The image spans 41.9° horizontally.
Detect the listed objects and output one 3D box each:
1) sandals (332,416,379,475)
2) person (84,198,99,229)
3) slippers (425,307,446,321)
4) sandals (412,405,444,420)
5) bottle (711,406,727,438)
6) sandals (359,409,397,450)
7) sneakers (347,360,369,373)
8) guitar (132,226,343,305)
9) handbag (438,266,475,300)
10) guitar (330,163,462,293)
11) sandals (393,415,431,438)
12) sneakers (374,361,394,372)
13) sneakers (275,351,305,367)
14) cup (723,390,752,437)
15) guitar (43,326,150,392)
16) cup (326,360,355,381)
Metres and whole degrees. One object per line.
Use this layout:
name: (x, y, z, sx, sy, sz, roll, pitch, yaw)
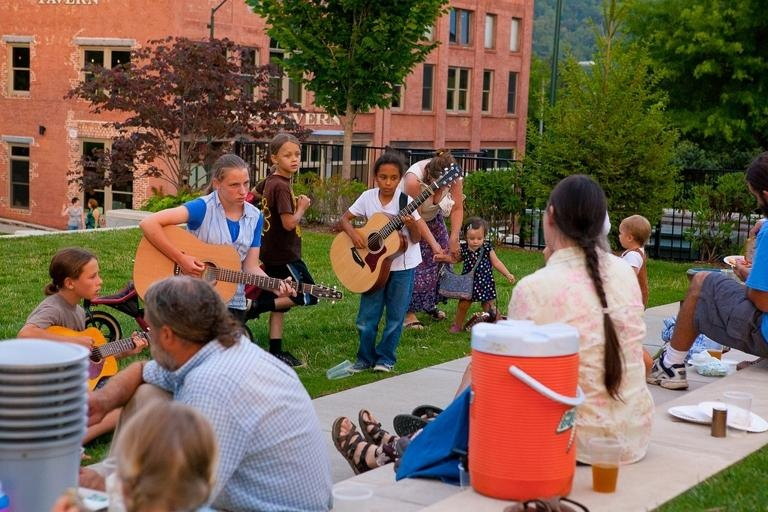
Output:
sandals: (-0.267, 1.668, 8.844, 0.247, 0.643, 0.230, -36, -15, -1)
person: (-7.430, -1.064, 25.209, 0.357, 0.733, 2.090, 1, 3, -16)
slippers: (0.707, 0.762, 13.420, 0.339, 0.124, 0.151, 6, 16, 21)
sandals: (0.368, 1.434, 9.130, 0.305, 0.121, 0.123, 2, 16, 33)
bottle: (2.991, 1.478, 8.868, 0.156, 0.256, 0.071, 2, 3, -11)
sandals: (-0.097, 1.563, 8.867, 0.511, 0.174, 0.137, 44, -13, -11)
sneakers: (-0.299, 1.232, 11.039, 0.252, 0.110, 0.092, 7, -6, -40)
guitar: (-1.528, 0.210, 10.258, 1.956, 0.855, 0.272, 15, -10, -23)
handbag: (0.926, 0.356, 12.987, 0.368, 0.378, 0.162, 4, -12, 36)
guitar: (0.168, -0.203, 11.487, 0.863, 1.941, 0.271, 49, 13, 21)
sandals: (0.213, 1.503, 8.936, 0.383, 0.148, 0.156, 7, 25, 14)
sneakers: (-0.021, 1.222, 10.995, 0.231, 0.089, 0.091, 3, 7, -24)
sneakers: (-1.063, 1.144, 11.095, 0.437, 0.172, 0.164, 3, 6, 28)
cup: (3.209, 1.409, 9.059, 0.253, 0.319, 0.259, 2, 3, 0)
guitar: (-2.699, 0.918, 9.478, 0.191, 0.680, 1.359, -28, -5, 23)
cup: (-0.500, 1.265, 10.850, 0.309, 0.216, 0.201, -14, -4, -23)
